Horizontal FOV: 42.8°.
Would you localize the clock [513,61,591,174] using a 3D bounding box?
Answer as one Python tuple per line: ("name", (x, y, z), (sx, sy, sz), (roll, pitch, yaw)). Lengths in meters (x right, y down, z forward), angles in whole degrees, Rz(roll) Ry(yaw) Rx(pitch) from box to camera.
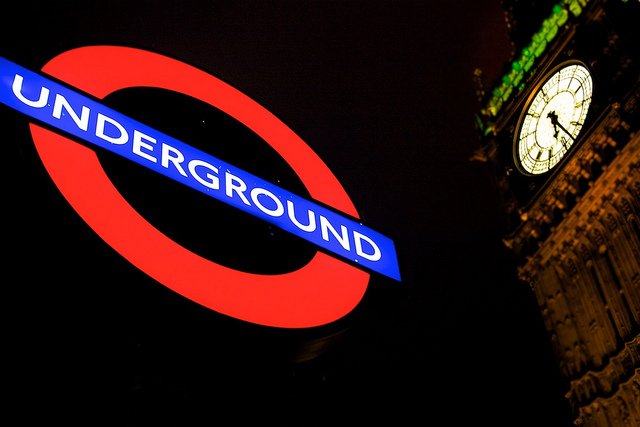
("clock", (3.895, -1.575, 13.527), (0.134, 1.418, 1.416), (11, -52, -36))
